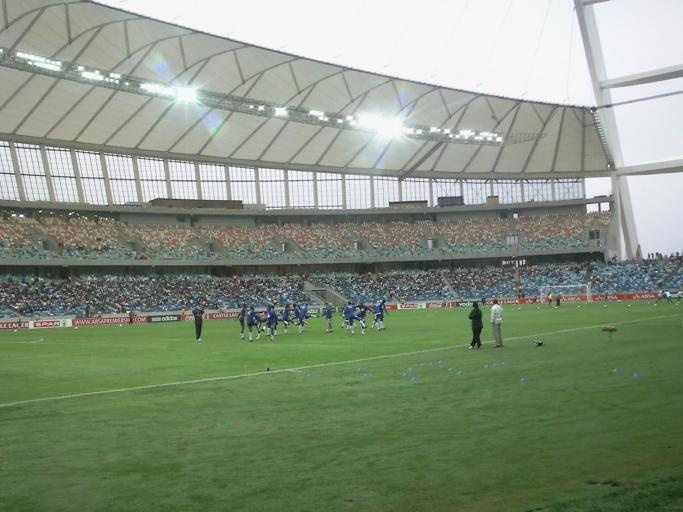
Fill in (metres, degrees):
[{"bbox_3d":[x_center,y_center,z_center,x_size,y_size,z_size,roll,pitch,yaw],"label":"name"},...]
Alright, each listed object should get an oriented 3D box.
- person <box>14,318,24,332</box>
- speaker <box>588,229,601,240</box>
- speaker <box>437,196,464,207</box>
[{"bbox_3d":[-26.574,5.608,50.664,1.067,0.914,0.256,15,3,33],"label":"person"},{"bbox_3d":[32.842,-2.914,80.454,1.425,1.209,0.701,-1,-12,12],"label":"speaker"},{"bbox_3d":[15.166,-7.729,86.220,3.515,1.652,1.196,-2,-2,0],"label":"speaker"}]
